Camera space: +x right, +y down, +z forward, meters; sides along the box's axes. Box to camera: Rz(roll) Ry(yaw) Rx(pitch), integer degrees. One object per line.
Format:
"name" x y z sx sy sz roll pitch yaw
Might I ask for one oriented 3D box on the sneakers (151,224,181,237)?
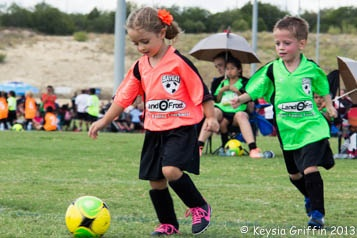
"sneakers" -0.179 1.811 10.723 0.330 0.139 0.182 5 -7 -14

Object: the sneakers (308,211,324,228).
"sneakers" 2.289 1.646 10.899 0.254 0.281 0.201 5 15 12

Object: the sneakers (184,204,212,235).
"sneakers" 0.356 1.613 10.709 0.274 0.512 0.258 -3 -27 44

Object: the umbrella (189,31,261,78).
"umbrella" 1.147 -1.587 15.866 1.096 0.926 1.114 2 -2 10
